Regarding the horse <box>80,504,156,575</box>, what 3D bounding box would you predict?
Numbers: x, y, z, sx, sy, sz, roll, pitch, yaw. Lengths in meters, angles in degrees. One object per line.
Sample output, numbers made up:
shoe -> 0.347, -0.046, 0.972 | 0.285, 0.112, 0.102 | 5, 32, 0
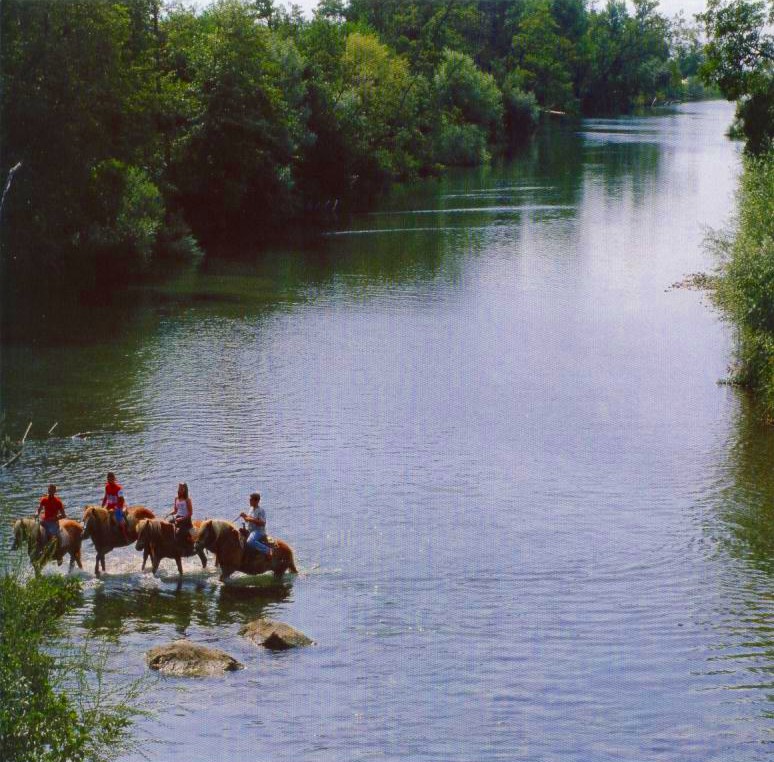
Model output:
horse -> -7.072, 4.175, 35.271 | 0.702, 2.016, 2.858 | 6, 6, 31

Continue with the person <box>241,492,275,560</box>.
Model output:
person -> -3.474, 3.880, 35.078 | 0.841, 2.212, 0.882 | 17, -23, -41

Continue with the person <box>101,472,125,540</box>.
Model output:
person -> -7.214, 3.351, 34.897 | 0.665, 1.936, 0.637 | -10, -6, 38
